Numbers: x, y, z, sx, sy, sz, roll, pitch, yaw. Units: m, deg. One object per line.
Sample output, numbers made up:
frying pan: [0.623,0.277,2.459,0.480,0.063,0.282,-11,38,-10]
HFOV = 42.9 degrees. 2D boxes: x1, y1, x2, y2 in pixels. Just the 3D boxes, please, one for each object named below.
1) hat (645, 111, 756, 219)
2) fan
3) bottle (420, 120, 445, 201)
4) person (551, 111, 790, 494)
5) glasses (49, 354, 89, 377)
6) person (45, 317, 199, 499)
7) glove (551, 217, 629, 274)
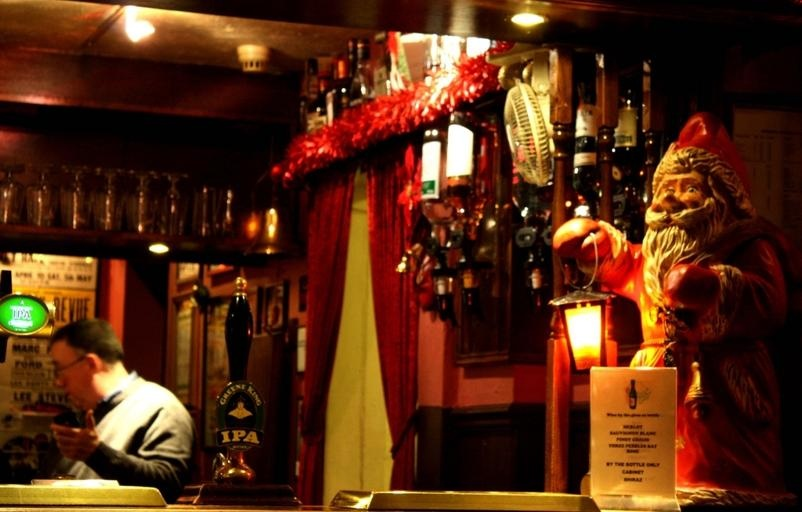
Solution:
hat: [1.130,-0.304,3.807,0.333,0.341,0.383,-6,-17,42]
fan: [0.608,-0.588,4.773,0.207,0.430,0.461,-8,17,-5]
bottle: [0.157,-0.517,5.643,0.178,0.445,0.154,-5,-11,27]
person: [1.036,0.142,3.639,0.774,1.361,0.386,-1,-9,8]
glasses: [-1.440,0.468,4.409,0.046,0.148,0.148,-16,-11,40]
person: [-1.140,0.618,4.208,0.605,0.780,0.766,3,-10,-19]
glove: [0.727,-0.063,3.881,0.326,0.148,0.272,-9,-9,-10]
